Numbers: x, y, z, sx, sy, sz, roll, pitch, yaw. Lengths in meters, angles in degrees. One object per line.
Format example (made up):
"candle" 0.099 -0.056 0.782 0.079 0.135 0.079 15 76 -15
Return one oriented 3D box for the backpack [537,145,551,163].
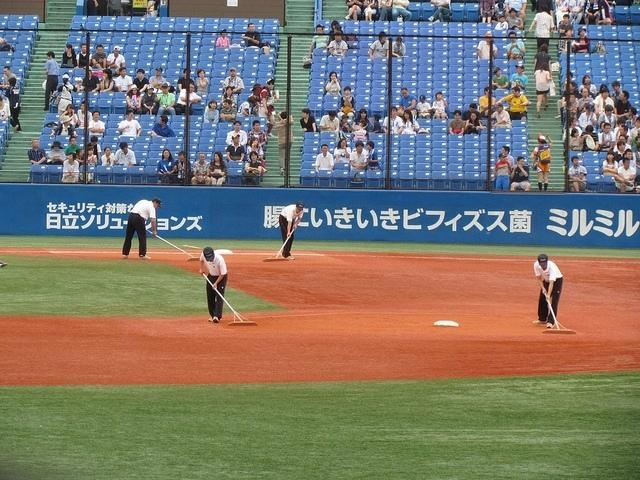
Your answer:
"backpack" 6.893 -2.700 54.281 0.461 0.611 0.346 -2 13 -7
